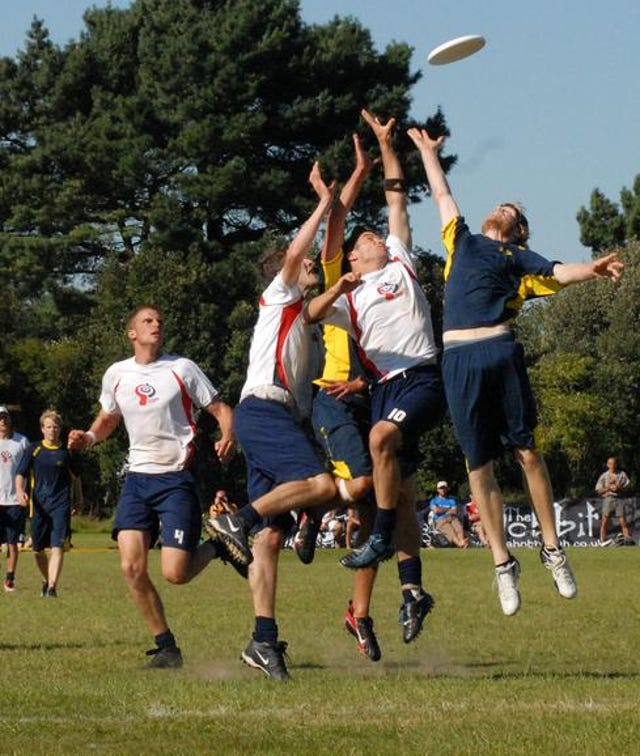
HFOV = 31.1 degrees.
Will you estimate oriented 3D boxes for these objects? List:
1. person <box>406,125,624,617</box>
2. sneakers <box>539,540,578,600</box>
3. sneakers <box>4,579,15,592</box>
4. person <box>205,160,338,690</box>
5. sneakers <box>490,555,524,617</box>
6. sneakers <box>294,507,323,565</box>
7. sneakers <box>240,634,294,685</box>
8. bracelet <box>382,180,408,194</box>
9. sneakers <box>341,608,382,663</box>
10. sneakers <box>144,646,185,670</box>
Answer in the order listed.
[{"bbox_3d":[1.069,-0.121,6.833,0.607,2.983,1.384,-2,-4,-33],"label":"person"},{"bbox_3d":[1.424,1.149,6.841,0.142,0.399,0.182,-24,-20,-4],"label":"sneakers"},{"bbox_3d":[-3.294,2.213,12.215,0.091,0.108,0.240,3,-9,-18],"label":"sneakers"},{"bbox_3d":[-0.266,0.189,6.904,0.756,3.022,1.114,-5,-3,20],"label":"person"},{"bbox_3d":[1.080,1.218,6.836,0.144,0.389,0.192,-24,-44,29],"label":"sneakers"},{"bbox_3d":[-0.082,1.079,7.844,0.150,0.426,0.193,-5,7,-22],"label":"sneakers"},{"bbox_3d":[-0.269,1.575,6.466,0.371,0.188,0.131,33,3,27],"label":"sneakers"},{"bbox_3d":[0.536,-1.344,8.069,0.119,0.090,0.116,-4,9,-23],"label":"bracelet"},{"bbox_3d":[0.269,1.561,6.986,0.183,0.373,0.128,-45,-28,17],"label":"sneakers"},{"bbox_3d":[-0.899,1.637,6.733,0.280,0.124,0.088,3,-7,-6],"label":"sneakers"}]
